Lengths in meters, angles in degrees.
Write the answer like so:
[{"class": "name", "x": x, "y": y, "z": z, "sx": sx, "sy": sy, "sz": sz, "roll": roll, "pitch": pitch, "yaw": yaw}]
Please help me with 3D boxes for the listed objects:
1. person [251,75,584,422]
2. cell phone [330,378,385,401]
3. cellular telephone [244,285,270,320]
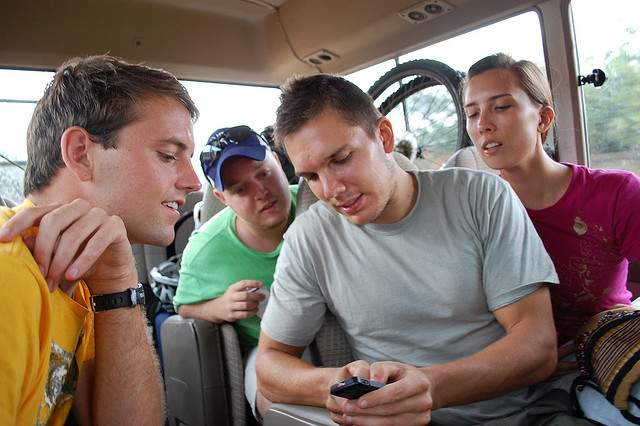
[{"class": "person", "x": 0.335, "y": 0.072, "z": 2.195, "sx": 1.464, "sy": 1.432, "sz": 0.642, "roll": -8, "pitch": 2, "yaw": -6}, {"class": "cell phone", "x": 0.145, "y": 0.706, "z": 1.842, "sx": 0.147, "sy": 0.032, "sz": 0.140, "roll": 11, "pitch": -32, "yaw": -34}, {"class": "cellular telephone", "x": -0.368, "y": 0.529, "z": 2.704, "sx": 0.142, "sy": 0.181, "sz": 0.093, "roll": -10, "pitch": 3, "yaw": -39}]
